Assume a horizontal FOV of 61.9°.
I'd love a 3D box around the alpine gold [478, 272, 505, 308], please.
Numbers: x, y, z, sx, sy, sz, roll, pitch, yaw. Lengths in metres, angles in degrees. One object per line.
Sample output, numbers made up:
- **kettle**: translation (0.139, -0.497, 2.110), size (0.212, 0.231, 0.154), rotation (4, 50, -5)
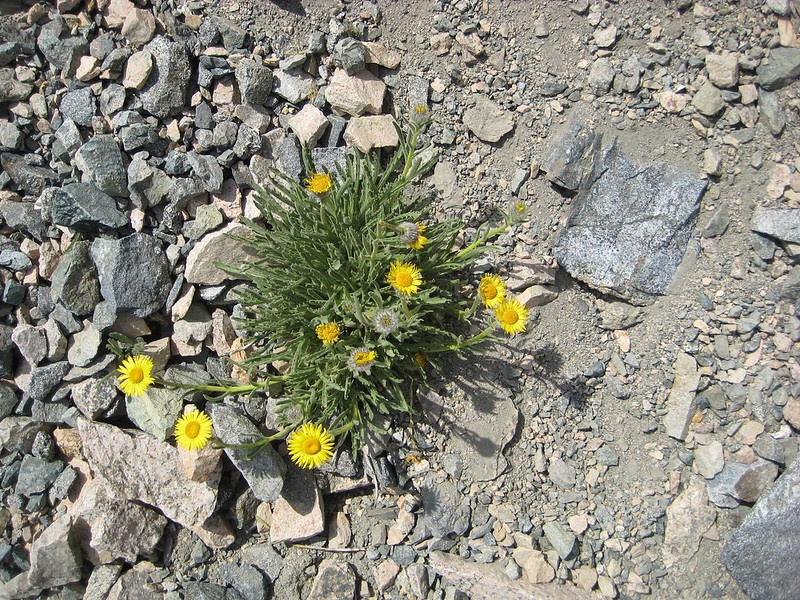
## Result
- **alpine gold**: translation (0.671, -0.072, 4.886), size (0.207, 0.083, 0.230), rotation (-21, 91, -6)
